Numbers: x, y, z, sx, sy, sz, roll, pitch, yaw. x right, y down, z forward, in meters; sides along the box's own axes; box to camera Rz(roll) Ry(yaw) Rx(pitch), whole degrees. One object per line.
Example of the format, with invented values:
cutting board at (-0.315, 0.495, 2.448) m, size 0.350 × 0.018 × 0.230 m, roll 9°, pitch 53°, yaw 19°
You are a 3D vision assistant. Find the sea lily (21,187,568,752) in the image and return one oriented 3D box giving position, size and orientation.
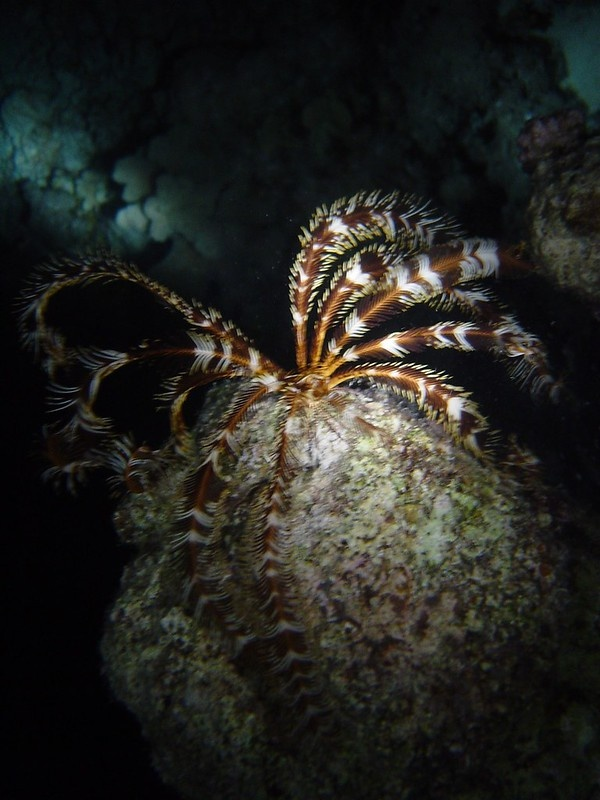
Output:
sea lily at (0.014, -0.049, 1.990) m, size 0.974 × 0.152 × 1.160 m, roll 44°, pitch 87°, yaw 9°
